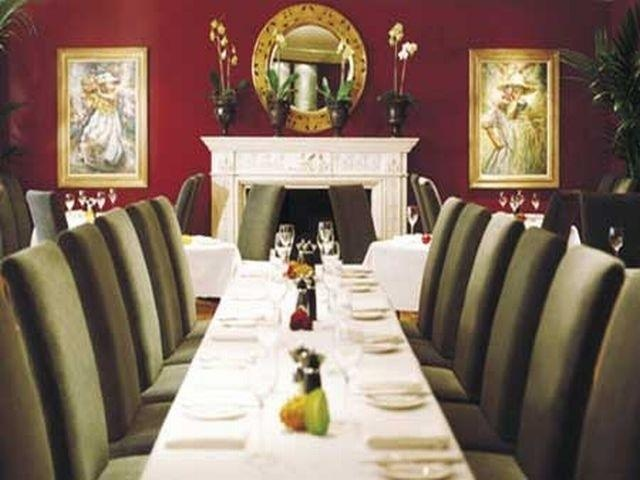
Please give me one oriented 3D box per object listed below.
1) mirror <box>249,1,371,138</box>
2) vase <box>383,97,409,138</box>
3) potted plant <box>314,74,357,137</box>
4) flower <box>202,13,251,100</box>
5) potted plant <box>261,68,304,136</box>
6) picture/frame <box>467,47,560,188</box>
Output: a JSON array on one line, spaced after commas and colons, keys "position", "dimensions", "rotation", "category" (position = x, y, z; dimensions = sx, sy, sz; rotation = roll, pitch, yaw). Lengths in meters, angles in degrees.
[{"position": [-0.125, -1.944, 6.202], "dimensions": [1.242, 1.640, 0.077], "rotation": [0, 1, -5], "category": "mirror"}, {"position": [0.836, -1.351, 6.083], "dimensions": [0.239, 0.448, 0.239], "rotation": [3, 12, 12], "category": "vase"}, {"position": [0.162, -1.471, 6.115], "dimensions": [0.376, 0.607, 0.488], "rotation": [0, 12, 0], "category": "potted plant"}, {"position": [-0.994, -1.972, 6.031], "dimensions": [0.400, 0.877, 0.559], "rotation": [-2, 12, -12], "category": "flower"}, {"position": [-0.423, -1.526, 6.130], "dimensions": [0.365, 0.735, 0.495], "rotation": [-1, 12, -5], "category": "potted plant"}, {"position": [2.162, -1.455, 6.297], "dimensions": [1.210, 2.190, 0.108], "rotation": [0, 3, -4], "category": "picture/frame"}]
